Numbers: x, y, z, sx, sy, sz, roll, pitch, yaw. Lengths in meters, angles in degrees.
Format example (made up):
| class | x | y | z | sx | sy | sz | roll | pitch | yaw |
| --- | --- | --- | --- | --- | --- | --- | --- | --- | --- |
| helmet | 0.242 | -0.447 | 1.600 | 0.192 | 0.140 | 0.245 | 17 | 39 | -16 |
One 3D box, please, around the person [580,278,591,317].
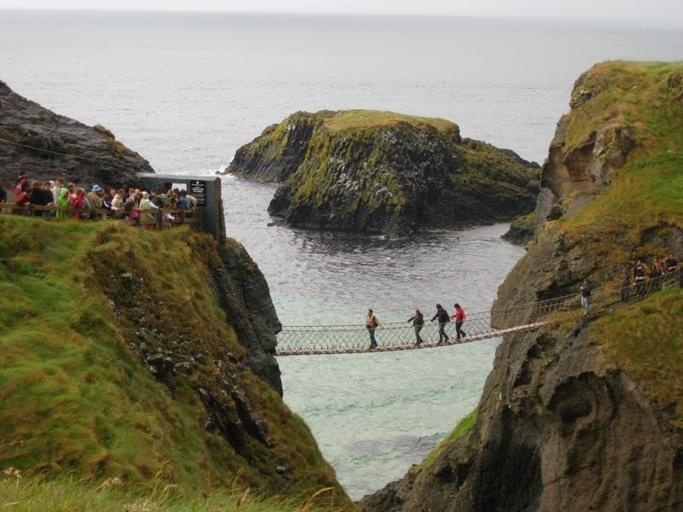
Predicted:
| class | x | y | z | sx | sy | sz | roll | pitch | yaw |
| --- | --- | --- | --- | --- | --- | --- | --- | --- | --- |
| person | 11.292 | 1.862 | 49.863 | 0.475 | 1.468 | 1.533 | 2 | 7 | 13 |
